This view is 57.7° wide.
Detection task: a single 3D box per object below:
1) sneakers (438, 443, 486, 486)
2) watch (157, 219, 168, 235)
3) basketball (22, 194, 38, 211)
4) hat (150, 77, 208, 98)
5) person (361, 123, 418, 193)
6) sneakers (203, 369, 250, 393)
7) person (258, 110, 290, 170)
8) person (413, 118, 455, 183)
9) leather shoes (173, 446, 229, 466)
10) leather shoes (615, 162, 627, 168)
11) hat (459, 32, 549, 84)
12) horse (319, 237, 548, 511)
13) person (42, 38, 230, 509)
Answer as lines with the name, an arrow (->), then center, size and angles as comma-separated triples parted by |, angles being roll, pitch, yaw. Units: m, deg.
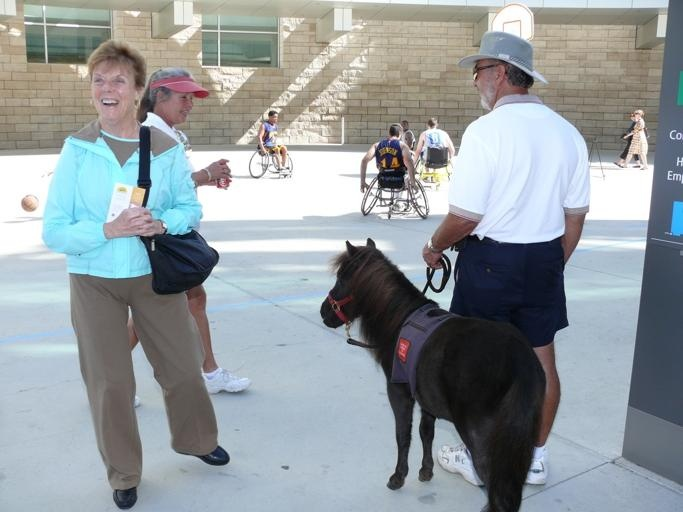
sneakers -> 0.666, 1.124, 3.437 | 0.136, 0.176, 0.372 | -4, 2, -29
watch -> -0.898, -0.139, 3.110 | 0.044, 0.056, 0.033 | 14, 31, 24
basketball -> -5.012, -0.824, 9.968 | 0.205, 0.295, 0.327 | -3, 13, -19
hat -> -1.040, -1.073, 3.865 | 0.242, 0.064, 0.161 | 6, 7, 3
person -> 0.863, -1.682, 11.184 | 0.927, 1.367, 0.794 | 1, 14, 3
sneakers -> -0.794, 0.858, 4.283 | 0.339, 0.158, 0.137 | -1, 7, -13
person -> -1.859, -3.112, 16.768 | 0.715, 1.524, 2.665 | -1, 12, -7
person -> 2.095, -2.281, 14.086 | 0.936, 1.544, 1.398 | -1, 14, -4
leather shoes -> -0.759, 1.120, 3.431 | 0.310, 0.127, 0.110 | -1, 30, -4
leather shoes -> 8.865, -2.843, 19.543 | 0.186, 0.208, 0.535 | -3, 10, -2
hat -> 0.826, -1.020, 3.252 | 0.429, 0.178, 0.348 | 15, -5, 1
horse -> 0.440, 0.645, 2.976 | 0.345, 1.275, 1.120 | -8, 15, -32
person -> -1.063, 0.093, 3.166 | 0.812, 2.296, 0.571 | -5, 15, -25
